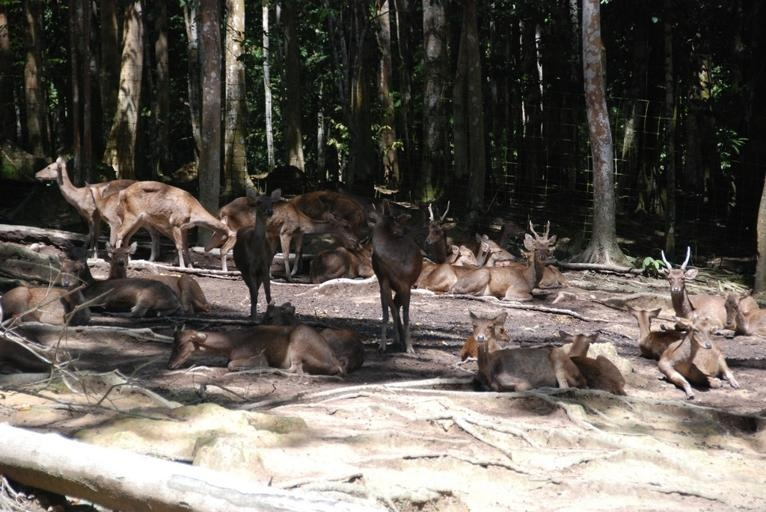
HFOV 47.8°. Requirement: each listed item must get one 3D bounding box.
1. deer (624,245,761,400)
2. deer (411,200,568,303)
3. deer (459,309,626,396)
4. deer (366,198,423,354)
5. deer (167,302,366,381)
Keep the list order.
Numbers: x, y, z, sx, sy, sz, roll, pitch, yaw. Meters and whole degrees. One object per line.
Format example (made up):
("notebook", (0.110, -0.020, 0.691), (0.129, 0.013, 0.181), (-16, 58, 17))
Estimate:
("deer", (5.716, 1.273, 15.838), (1.205, 2.196, 3.388), (-4, 10, 0))
("deer", (2.417, -0.010, 20.264), (3.116, 1.675, 2.824), (3, 7, 16))
("deer", (2.552, 1.686, 14.019), (2.412, 1.077, 1.242), (9, -7, -15))
("deer", (0.155, 0.393, 15.236), (0.742, 2.550, 0.946), (-3, 7, -34))
("deer", (-1.735, 1.379, 14.252), (3.524, 1.541, 1.138), (3, 0, 1))
